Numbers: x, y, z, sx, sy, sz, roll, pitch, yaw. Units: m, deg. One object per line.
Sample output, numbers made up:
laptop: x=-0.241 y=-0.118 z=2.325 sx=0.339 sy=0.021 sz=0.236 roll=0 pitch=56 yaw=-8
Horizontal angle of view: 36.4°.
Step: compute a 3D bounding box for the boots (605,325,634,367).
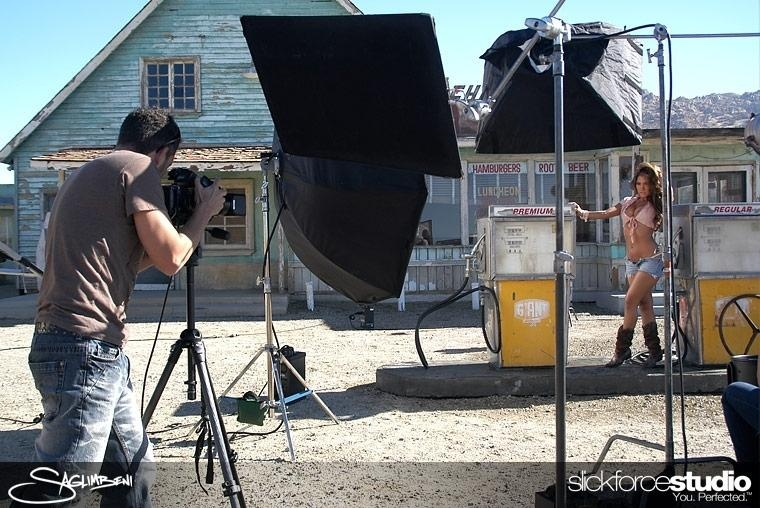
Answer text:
boots: x=2.891 y=1.125 z=14.062 sx=0.463 sy=0.438 sz=0.194 roll=-12 pitch=20 yaw=-33
